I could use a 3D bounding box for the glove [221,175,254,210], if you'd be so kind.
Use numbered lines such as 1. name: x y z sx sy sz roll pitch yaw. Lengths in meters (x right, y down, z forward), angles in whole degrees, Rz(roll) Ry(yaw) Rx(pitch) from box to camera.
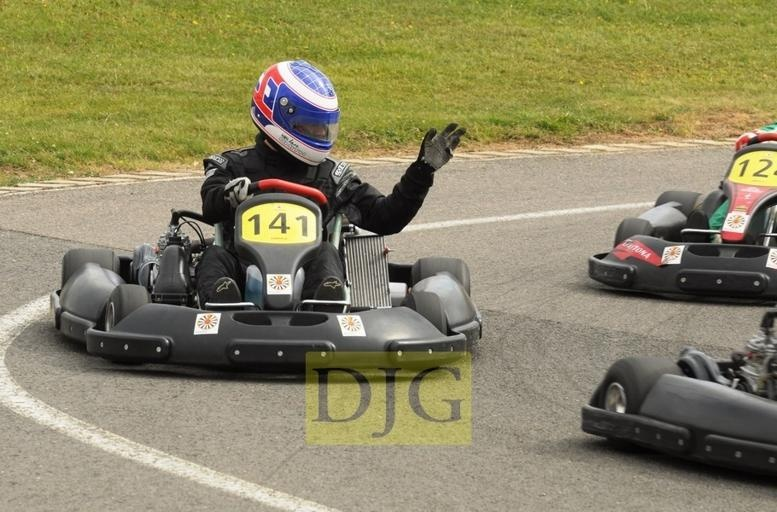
1. glove: -0.912 -0.407 6.767 0.163 0.079 0.198 1 45 43

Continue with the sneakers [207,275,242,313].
1. sneakers: -0.976 0.222 6.495 0.254 0.073 0.287 -8 42 -7

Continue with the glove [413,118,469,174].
1. glove: 0.334 -0.715 6.835 0.249 0.354 0.132 36 -4 9

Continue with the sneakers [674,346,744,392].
1. sneakers: 1.667 0.587 5.583 0.281 0.092 0.206 25 17 38

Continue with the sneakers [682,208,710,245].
1. sneakers: 2.457 -0.235 8.521 0.232 0.232 0.408 8 22 15
